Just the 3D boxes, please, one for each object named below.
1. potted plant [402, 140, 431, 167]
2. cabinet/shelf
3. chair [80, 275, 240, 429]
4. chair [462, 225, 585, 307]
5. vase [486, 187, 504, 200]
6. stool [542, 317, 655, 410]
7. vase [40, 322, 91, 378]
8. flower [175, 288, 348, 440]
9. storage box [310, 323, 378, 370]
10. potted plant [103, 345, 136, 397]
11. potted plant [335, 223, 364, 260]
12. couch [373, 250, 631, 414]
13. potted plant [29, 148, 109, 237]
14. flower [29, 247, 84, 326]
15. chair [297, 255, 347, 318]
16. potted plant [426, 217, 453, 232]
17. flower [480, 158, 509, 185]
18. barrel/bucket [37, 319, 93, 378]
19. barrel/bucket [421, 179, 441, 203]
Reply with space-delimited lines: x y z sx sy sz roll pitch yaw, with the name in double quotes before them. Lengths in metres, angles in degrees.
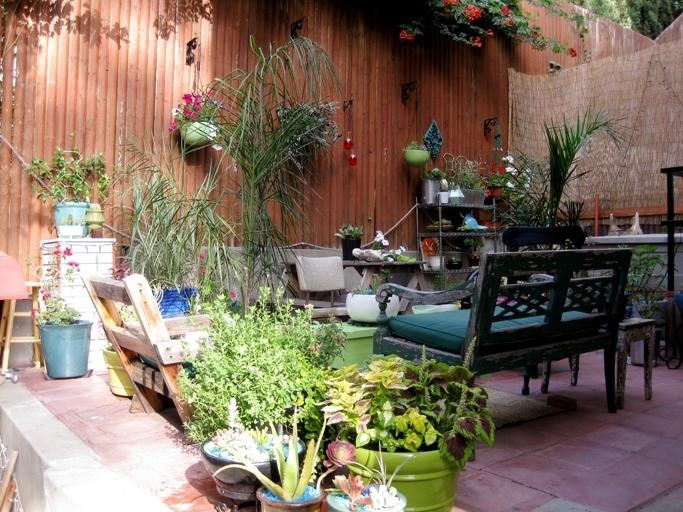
"potted plant" 0.960 -1.325 7.815 0.308 0.342 0.442 0 6 -1
"cabinet/shelf" 1.315 -0.140 7.110 0.954 1.372 0.392 -3 4 -39
"chair" -1.167 0.512 3.559 0.955 0.940 0.737 0 3 -39
"chair" 1.371 -0.036 4.388 0.531 0.983 0.600 -2 6 -18
"vase" 2.129 -0.868 8.320 0.172 0.154 0.184 -1 1 -27
"stool" 1.858 0.659 4.306 0.590 0.769 0.768 6 -8 -44
"vase" -2.079 0.712 4.554 0.338 0.411 0.382 0 -2 -23
"flower" -0.348 0.561 3.094 0.786 0.721 0.669 -1 -10 23
"storage box" 0.056 0.603 4.058 0.388 0.478 0.306 1 0 -34
"potted plant" -1.500 0.780 4.236 0.257 0.268 0.297 4 6 28
"potted plant" 0.088 -0.144 6.922 0.309 0.420 0.353 1 -3 -5
"couch" 0.952 0.055 3.650 1.253 1.124 0.748 -2 5 -37
"potted plant" -2.407 -0.548 5.232 0.612 0.836 0.359 3 -6 -35
"flower" -2.273 0.210 4.799 0.326 0.584 0.650 -3 7 -26
"chair" -0.209 0.273 5.821 0.411 0.639 0.460 -1 -1 -5
"potted plant" 1.274 -0.387 7.740 0.364 0.183 0.792 2 7 10
"flower" 2.161 -1.170 8.497 0.388 0.398 1.264 2 7 14
"barrel/bucket" -2.080 0.690 4.548 0.342 0.431 0.388 0 -2 -21
"barrel/bucket" 1.174 -0.822 7.805 0.243 0.328 0.147 1 6 9
